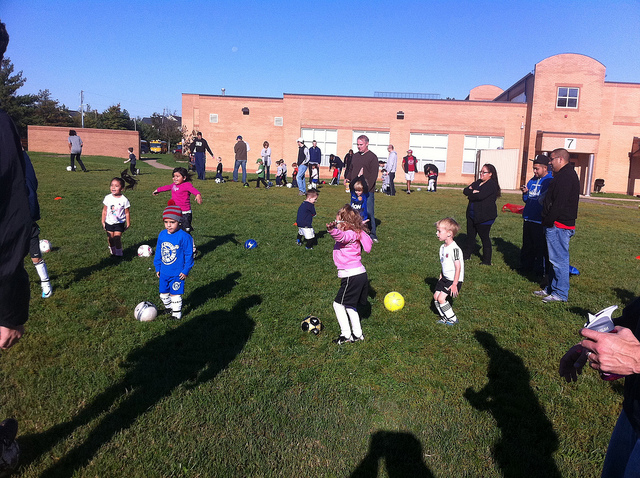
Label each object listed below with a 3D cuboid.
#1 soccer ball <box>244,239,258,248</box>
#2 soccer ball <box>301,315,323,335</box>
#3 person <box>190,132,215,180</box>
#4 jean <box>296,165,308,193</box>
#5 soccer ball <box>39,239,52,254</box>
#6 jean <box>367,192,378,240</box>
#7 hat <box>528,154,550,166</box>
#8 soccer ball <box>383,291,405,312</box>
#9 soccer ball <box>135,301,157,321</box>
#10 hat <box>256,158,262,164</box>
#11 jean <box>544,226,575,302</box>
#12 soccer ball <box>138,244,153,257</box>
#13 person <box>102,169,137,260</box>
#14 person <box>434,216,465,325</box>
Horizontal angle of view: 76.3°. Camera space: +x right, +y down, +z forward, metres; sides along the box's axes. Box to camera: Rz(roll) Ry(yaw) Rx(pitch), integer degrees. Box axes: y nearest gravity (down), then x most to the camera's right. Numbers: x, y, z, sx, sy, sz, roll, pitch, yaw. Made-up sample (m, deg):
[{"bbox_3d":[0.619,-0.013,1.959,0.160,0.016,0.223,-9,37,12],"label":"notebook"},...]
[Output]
[{"bbox_3d":[-1.551,0.079,9.136,0.296,0.144,0.327,2,15,-9],"label":"soccer ball"},{"bbox_3d":[-0.112,1.155,5.651,0.220,0.287,0.239,-5,15,1],"label":"soccer ball"},{"bbox_3d":[-5.725,-4.001,19.459,1.265,2.230,0.593,-1,16,-12],"label":"person"},{"bbox_3d":[-0.801,-2.588,17.068,0.403,1.130,0.561,3,14,-4],"label":"jean"},{"bbox_3d":[-5.367,0.111,7.982,0.188,0.252,0.310,-6,18,-36],"label":"soccer ball"},{"bbox_3d":[1.381,-0.687,10.588,0.338,1.188,1.041,6,14,8],"label":"jean"},{"bbox_3d":[4.250,-1.540,7.937,0.220,0.178,0.309,-8,11,-43],"label":"hat"},{"bbox_3d":[1.136,0.933,6.398,0.256,0.326,0.264,-7,4,1],"label":"soccer ball"},{"bbox_3d":[-2.427,0.984,5.710,0.235,0.243,0.268,17,-14,-30],"label":"soccer ball"},{"bbox_3d":[-2.734,-3.548,18.137,0.240,0.215,0.330,-1,1,3],"label":"hat"},{"bbox_3d":[3.957,0.378,6.827,0.501,1.192,0.221,12,15,29],"label":"jean"},{"bbox_3d":[-3.491,0.194,8.094,0.183,0.242,0.242,42,4,9],"label":"soccer ball"},{"bbox_3d":[-4.106,-0.534,8.212,0.466,1.524,1.235,-3,15,-26],"label":"person"},{"bbox_3d":[1.928,0.414,6.118,0.488,1.470,0.758,8,14,17],"label":"person"}]
